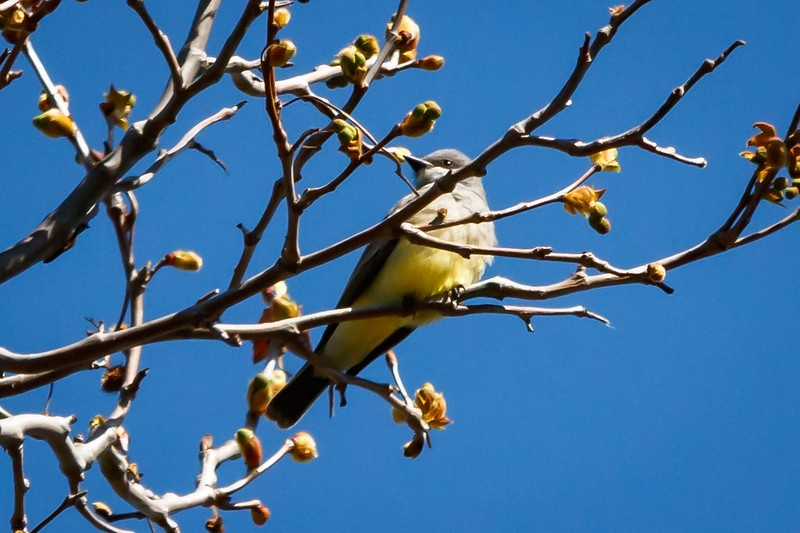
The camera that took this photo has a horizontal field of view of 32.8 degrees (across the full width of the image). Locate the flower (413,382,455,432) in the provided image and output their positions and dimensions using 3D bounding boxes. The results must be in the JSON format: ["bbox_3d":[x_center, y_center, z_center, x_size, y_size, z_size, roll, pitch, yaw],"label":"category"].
[{"bbox_3d":[0.141,0.502,5.014,0.189,0.159,0.087,-4,-88,-11],"label":"flower"}]
